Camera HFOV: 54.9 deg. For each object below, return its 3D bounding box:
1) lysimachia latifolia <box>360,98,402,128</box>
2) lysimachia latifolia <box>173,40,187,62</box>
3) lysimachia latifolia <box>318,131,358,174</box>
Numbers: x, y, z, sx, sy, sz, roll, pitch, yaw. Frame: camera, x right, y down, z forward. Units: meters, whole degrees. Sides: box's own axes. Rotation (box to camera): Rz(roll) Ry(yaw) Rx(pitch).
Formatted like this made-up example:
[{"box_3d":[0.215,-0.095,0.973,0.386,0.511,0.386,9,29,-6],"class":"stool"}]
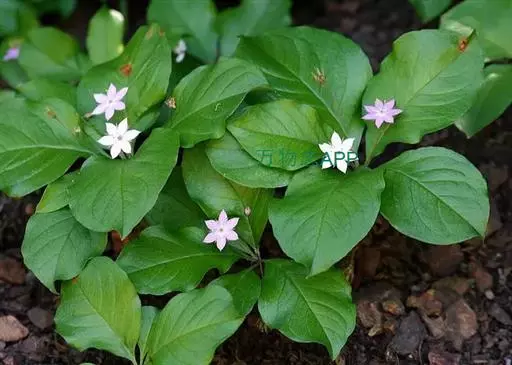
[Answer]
[{"box_3d":[0.863,-0.498,3.354,0.194,0.212,0.058,7,66,-21],"class":"lysimachia latifolia"},{"box_3d":[-0.685,-1.176,4.448,0.116,0.043,0.231,2,81,41],"class":"lysimachia latifolia"},{"box_3d":[0.533,-0.176,3.290,0.228,0.209,0.254,-6,67,-2],"class":"lysimachia latifolia"}]
